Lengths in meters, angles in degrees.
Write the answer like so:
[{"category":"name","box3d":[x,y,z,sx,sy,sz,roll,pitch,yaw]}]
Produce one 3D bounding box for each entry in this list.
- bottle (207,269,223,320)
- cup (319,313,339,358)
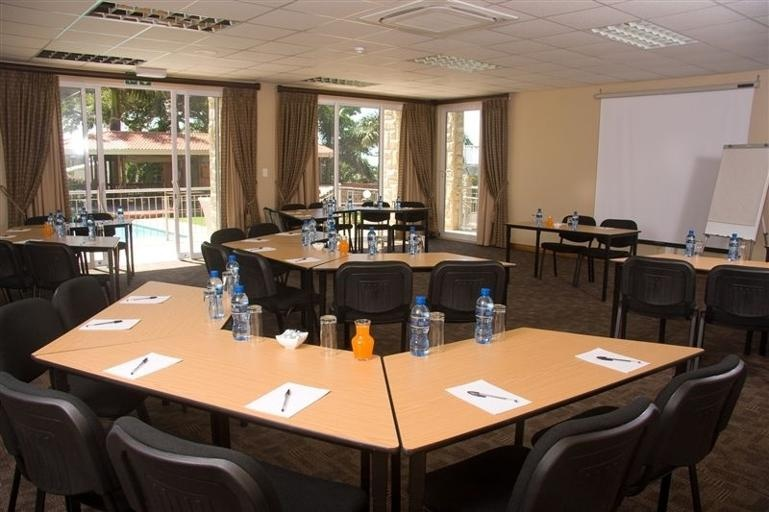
[{"category":"bottle","box3d":[-1.310,0.273,4.056,0.119,0.327,0.419,-3,11,-17]},{"category":"cup","box3d":[-0.360,0.504,3.406,0.095,0.252,0.136,-2,11,-12]}]
